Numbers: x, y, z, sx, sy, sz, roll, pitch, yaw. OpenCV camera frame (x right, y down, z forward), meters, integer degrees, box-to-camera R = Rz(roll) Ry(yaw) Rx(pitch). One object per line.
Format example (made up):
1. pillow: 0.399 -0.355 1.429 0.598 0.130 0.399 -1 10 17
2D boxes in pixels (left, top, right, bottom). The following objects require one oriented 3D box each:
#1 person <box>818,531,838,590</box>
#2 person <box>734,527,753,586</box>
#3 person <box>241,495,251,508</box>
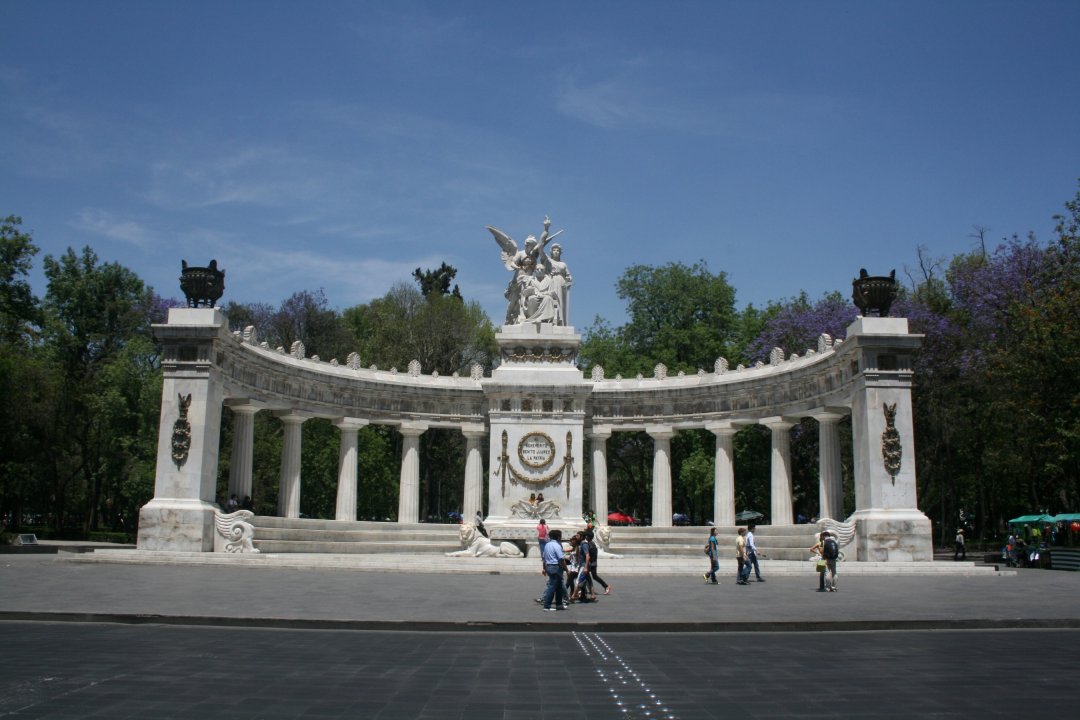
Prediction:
1. person: 10.012 6.982 42.205 0.620 2.092 1.262 -3 -11 14
2. person: 7.475 7.243 44.844 0.433 2.035 0.918 -3 -11 16
3. person: -13.827 6.743 57.404 0.355 0.612 1.379 3 -11 -15
